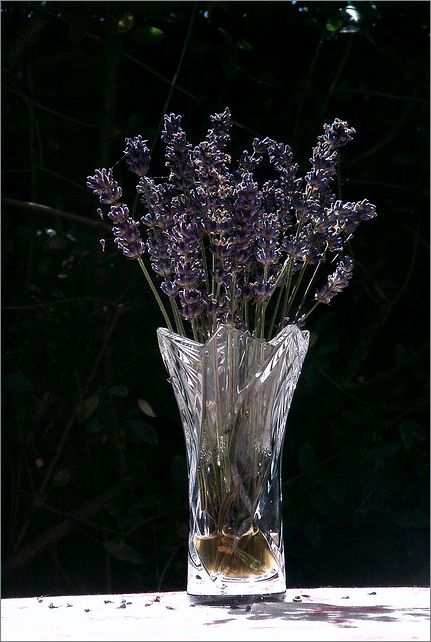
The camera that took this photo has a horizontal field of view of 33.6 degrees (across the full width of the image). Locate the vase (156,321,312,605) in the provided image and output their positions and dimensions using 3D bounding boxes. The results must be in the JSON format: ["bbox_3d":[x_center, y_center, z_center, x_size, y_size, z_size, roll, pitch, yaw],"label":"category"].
[{"bbox_3d":[0.021,0.147,0.753,0.158,0.283,0.098,-2,-11,5],"label":"vase"}]
